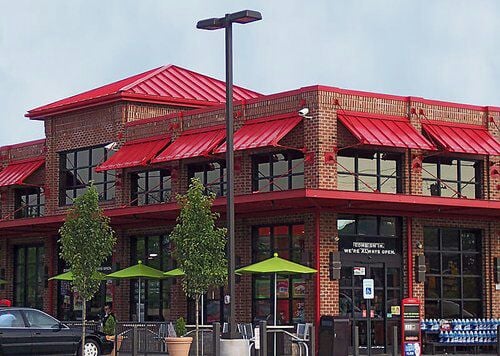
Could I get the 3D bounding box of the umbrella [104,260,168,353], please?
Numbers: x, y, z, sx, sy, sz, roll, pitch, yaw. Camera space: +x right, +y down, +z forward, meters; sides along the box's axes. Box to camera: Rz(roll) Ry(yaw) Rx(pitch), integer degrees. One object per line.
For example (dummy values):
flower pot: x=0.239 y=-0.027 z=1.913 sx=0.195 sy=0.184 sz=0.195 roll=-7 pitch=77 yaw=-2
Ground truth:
umbrella: x=-5.104 y=5.763 z=60.312 sx=3.401 sy=3.693 sz=3.405 roll=-5 pitch=-8 yaw=22

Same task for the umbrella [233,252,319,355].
umbrella: x=1.189 y=5.310 z=56.389 sx=3.698 sy=4.272 sz=3.928 roll=-8 pitch=-10 yaw=43
